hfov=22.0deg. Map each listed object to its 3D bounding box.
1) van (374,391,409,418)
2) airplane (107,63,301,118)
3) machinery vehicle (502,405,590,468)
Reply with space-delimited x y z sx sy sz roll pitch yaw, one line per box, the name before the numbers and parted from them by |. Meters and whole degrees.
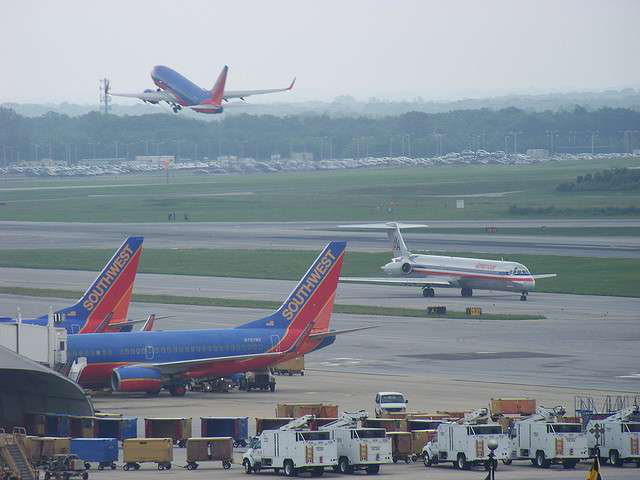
van | 5.044 12.004 120.683 1.468 1.176 2.245 0 -7 -11
airplane | -15.093 -18.217 192.011 12.072 6.166 22.289 0 -3 -6
machinery vehicle | 15.844 13.815 114.144 5.003 4.135 1.485 -1 -3 18
